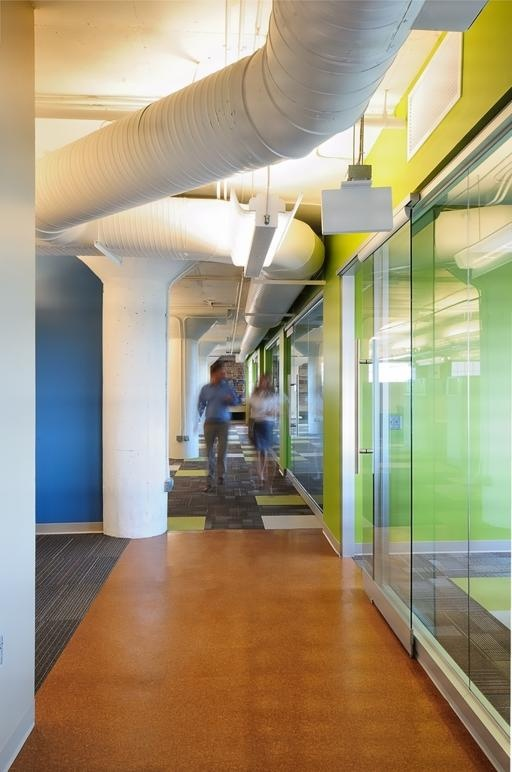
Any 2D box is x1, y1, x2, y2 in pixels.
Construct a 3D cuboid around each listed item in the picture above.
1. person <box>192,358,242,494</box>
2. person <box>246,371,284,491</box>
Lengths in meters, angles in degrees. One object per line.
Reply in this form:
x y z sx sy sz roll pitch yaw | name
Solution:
-0.538 0.559 7.844 0.508 1.815 1.152 0 -1 -5 | person
0.106 0.669 8.361 0.387 1.655 0.872 0 -1 0 | person
